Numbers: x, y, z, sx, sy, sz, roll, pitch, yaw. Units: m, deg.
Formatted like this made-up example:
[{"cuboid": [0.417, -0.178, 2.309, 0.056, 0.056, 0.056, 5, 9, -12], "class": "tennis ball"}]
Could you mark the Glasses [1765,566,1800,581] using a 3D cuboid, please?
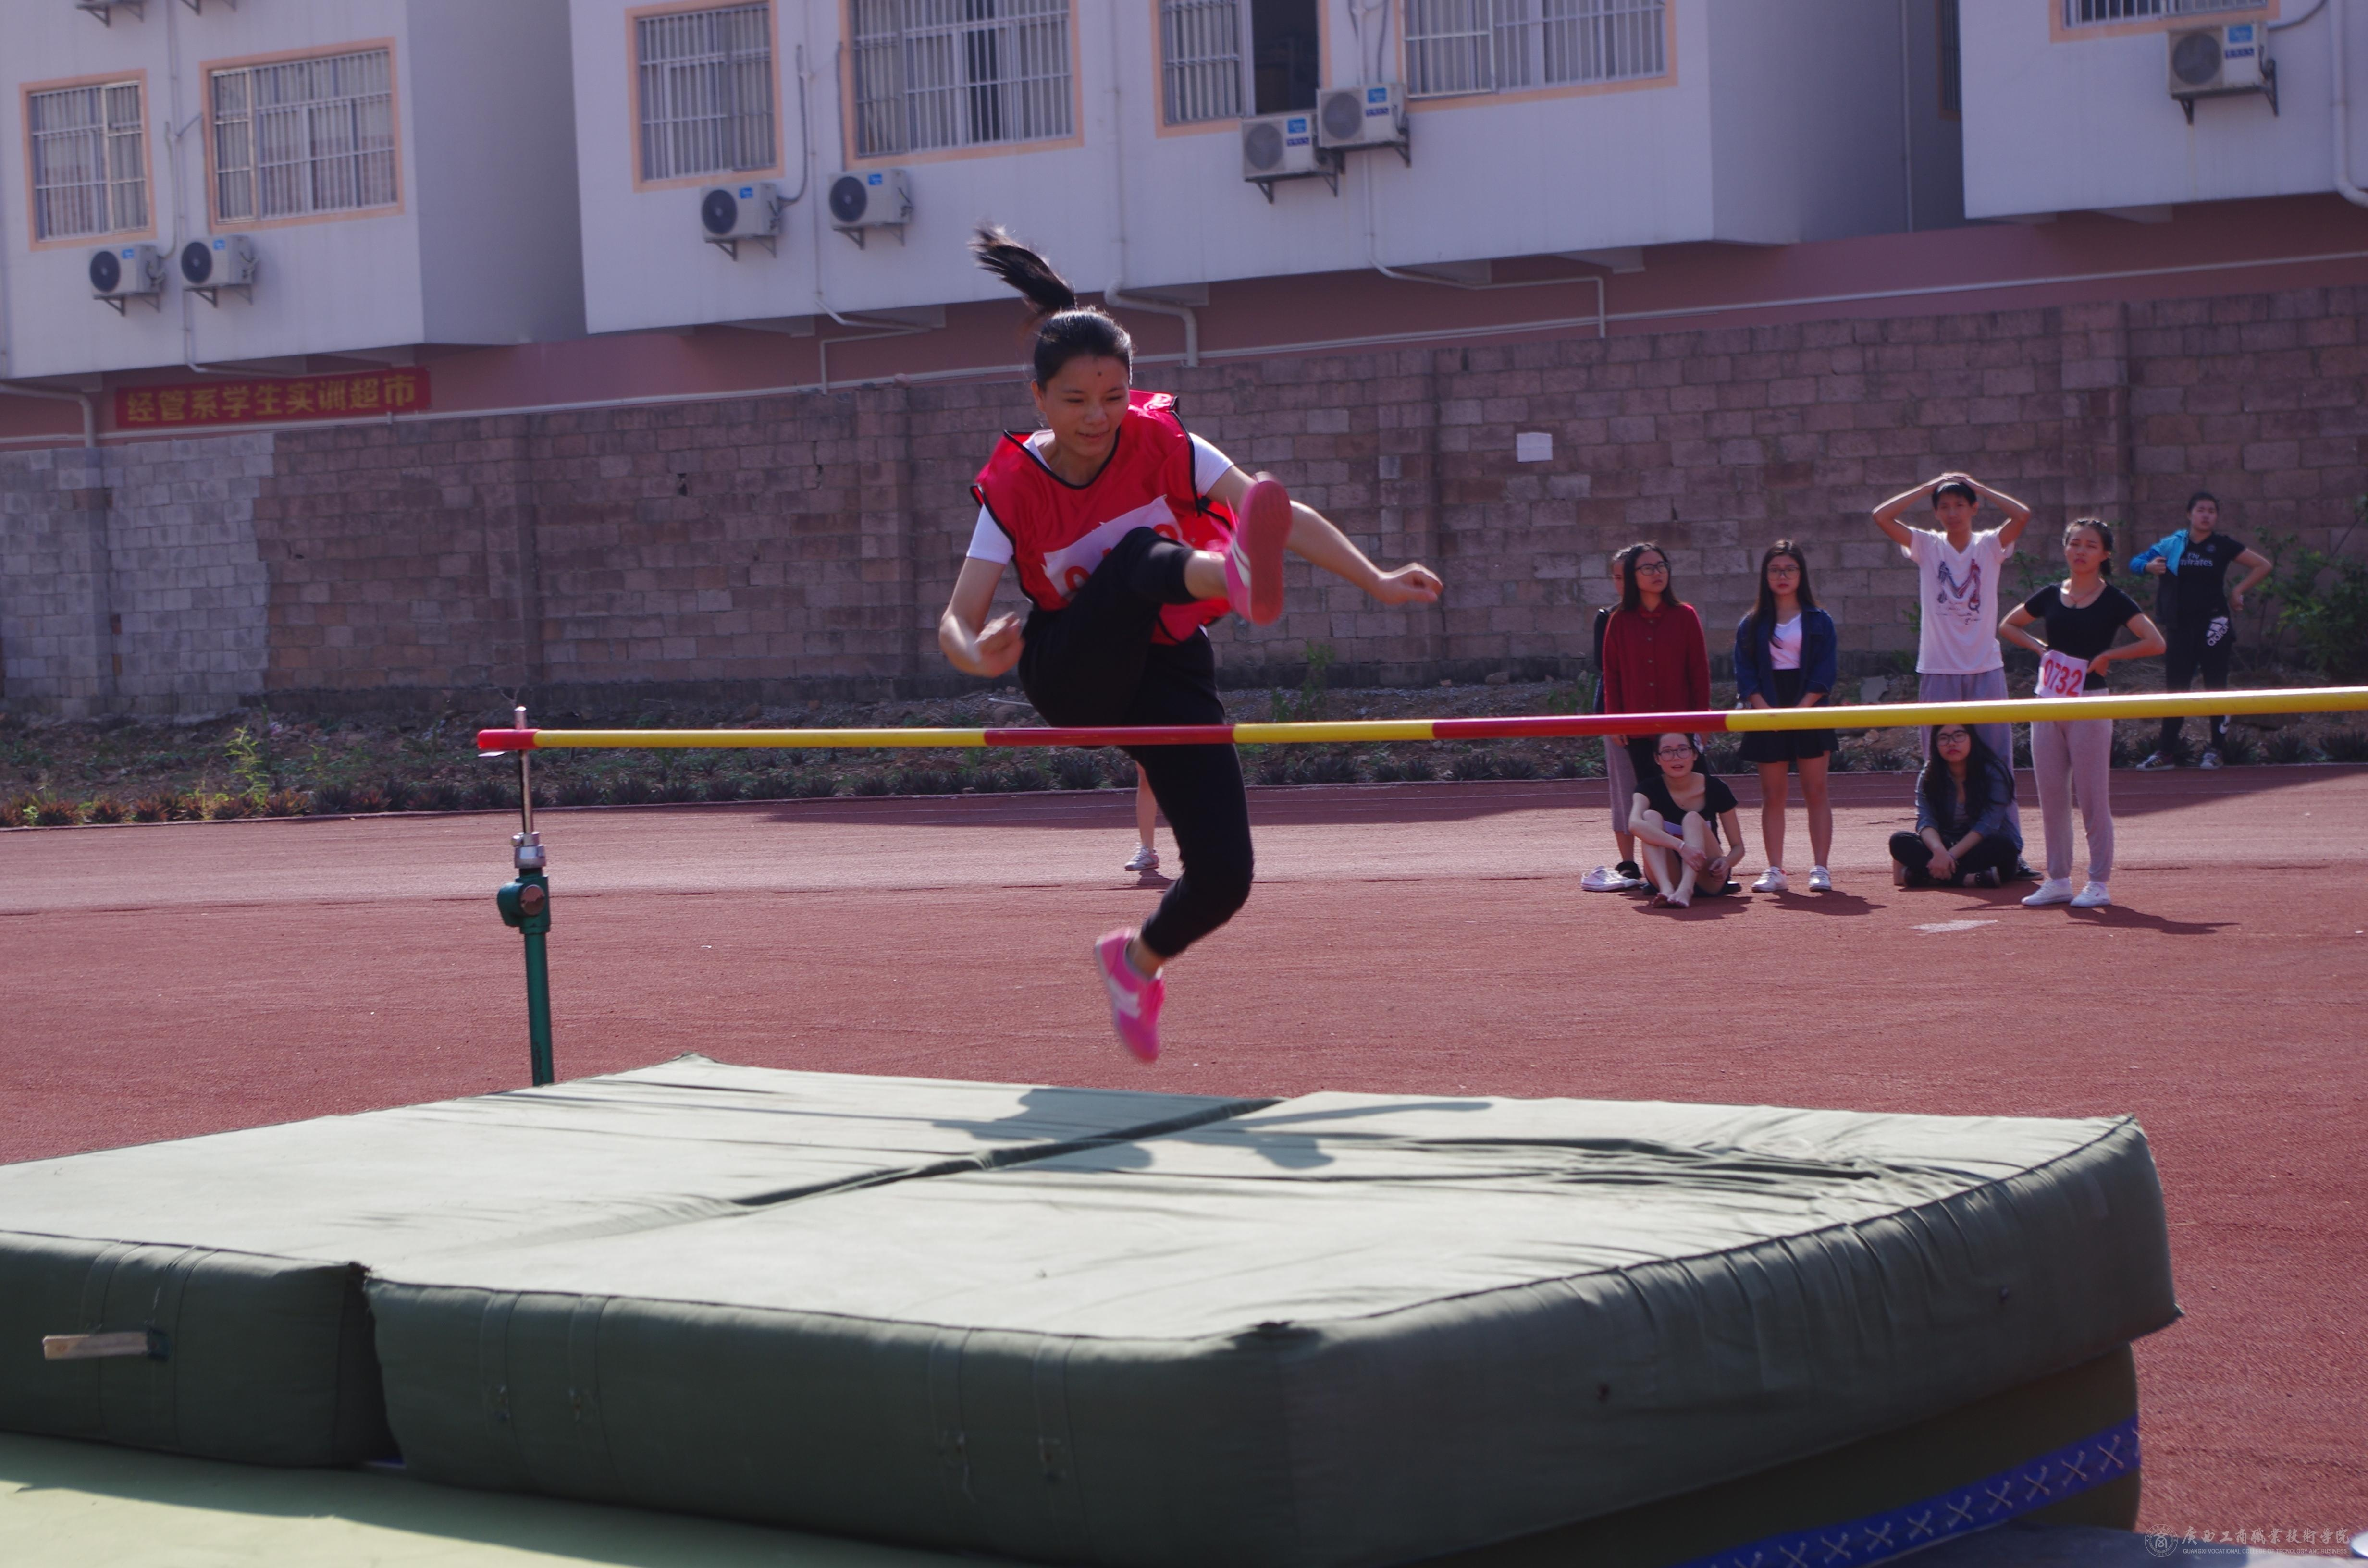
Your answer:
[{"cuboid": [4.037, -1.426, 24.078, 0.117, 0.054, 0.153, 5, -7, -34], "class": "Glasses"}]

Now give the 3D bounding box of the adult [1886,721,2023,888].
[{"cuboid": [5.231, 0.163, 24.079, 0.921, 1.263, 0.893, -10, -13, 43], "class": "adult"}]

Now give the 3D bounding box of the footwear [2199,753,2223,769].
[{"cuboid": [8.168, -0.195, 28.380, 0.161, 0.152, 0.050, 0, -19, 36], "class": "footwear"}]

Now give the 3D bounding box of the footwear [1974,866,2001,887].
[{"cuboid": [5.347, 0.612, 23.778, 0.179, 0.111, 0.094, -1, 10, 16], "class": "footwear"}]

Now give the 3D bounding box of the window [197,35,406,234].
[{"cuboid": [-9.385, -6.982, 38.462, 2.047, 1.562, 0.167, -3, 0, 16], "class": "window"}]

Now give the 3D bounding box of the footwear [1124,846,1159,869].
[{"cuboid": [-0.284, 0.524, 25.903, 0.113, 0.152, 0.327, -4, -9, 27], "class": "footwear"}]

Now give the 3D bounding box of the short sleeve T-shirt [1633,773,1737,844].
[{"cuboid": [3.387, 0.154, 24.139, 0.718, 0.418, 0.693, 3, 0, 20], "class": "short sleeve T-shirt"}]

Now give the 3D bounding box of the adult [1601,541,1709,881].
[{"cuboid": [3.243, -0.456, 24.266, 0.724, 2.434, 0.658, 2, 28, 15], "class": "adult"}]

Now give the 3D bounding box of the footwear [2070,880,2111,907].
[{"cuboid": [5.785, 0.709, 23.013, 0.354, 0.162, 0.124, -1, 0, -4], "class": "footwear"}]

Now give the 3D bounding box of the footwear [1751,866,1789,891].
[{"cuboid": [3.974, 0.644, 24.227, 0.115, 0.162, 0.346, -3, -8, 32], "class": "footwear"}]

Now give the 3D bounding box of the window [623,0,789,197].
[{"cuboid": [-4.799, -7.018, 36.566, 2.007, 2.137, 0.176, 0, 3, 25], "class": "window"}]

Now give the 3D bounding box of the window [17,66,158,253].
[{"cuboid": [-11.997, -6.904, 39.341, 1.926, 2.219, 0.182, -4, 3, 19], "class": "window"}]

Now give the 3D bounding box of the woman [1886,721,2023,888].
[{"cuboid": [5.222, 0.101, 23.893, 0.814, 1.167, 0.761, 4, 14, 40], "class": "woman"}]
